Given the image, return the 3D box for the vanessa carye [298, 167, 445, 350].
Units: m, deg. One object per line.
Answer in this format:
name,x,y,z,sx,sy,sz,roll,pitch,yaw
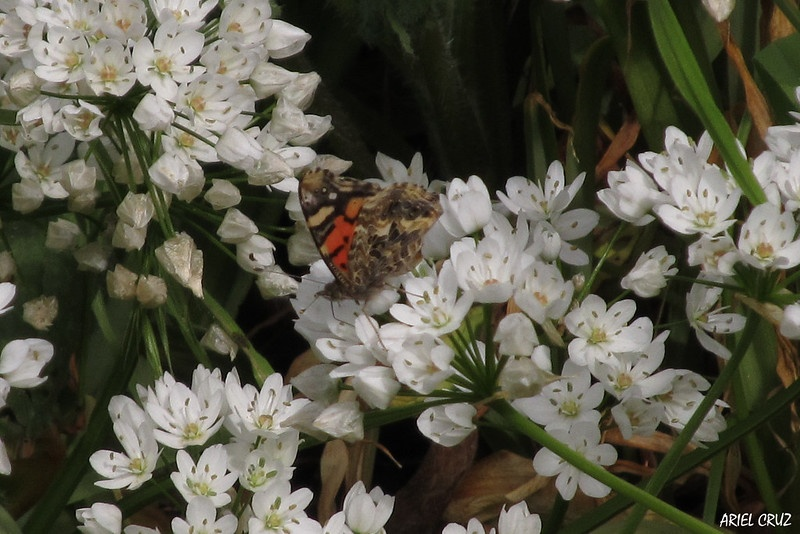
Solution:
vanessa carye,-0.042,-0.038,0.998,0.186,0.162,0.224,-26,-4,3
